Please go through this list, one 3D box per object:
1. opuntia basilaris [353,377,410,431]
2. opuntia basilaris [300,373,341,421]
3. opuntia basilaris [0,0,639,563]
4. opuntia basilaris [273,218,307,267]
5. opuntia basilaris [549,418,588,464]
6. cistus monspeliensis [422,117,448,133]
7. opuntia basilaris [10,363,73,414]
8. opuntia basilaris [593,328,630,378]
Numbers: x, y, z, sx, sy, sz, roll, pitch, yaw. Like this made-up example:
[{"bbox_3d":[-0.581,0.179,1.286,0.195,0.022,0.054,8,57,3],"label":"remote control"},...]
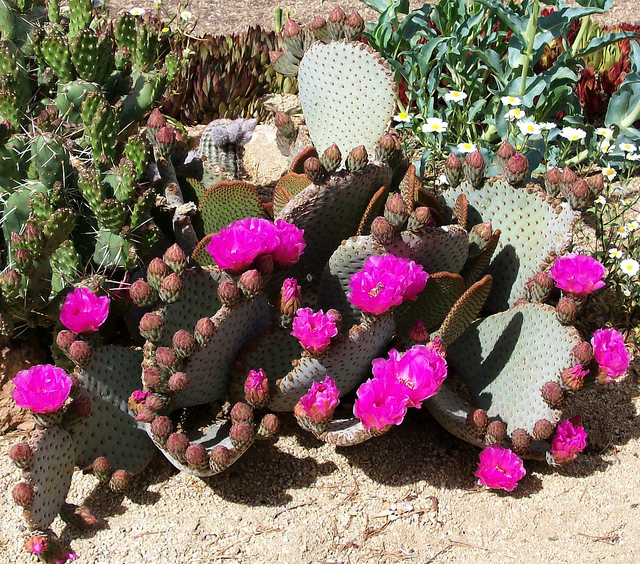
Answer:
[{"bbox_3d":[0.178,0.372,2.045,0.135,0.098,0.163,19,67,15],"label":"opuntia basilaris"},{"bbox_3d":[-0.002,0.364,2.110,0.108,0.133,0.082,-18,43,-25],"label":"opuntia basilaris"},{"bbox_3d":[-0.396,-0.350,2.410,1.857,0.592,2.220,-1,64,-4],"label":"opuntia basilaris"},{"bbox_3d":[-0.089,-0.112,2.239,0.116,0.128,0.152,4,77,3],"label":"opuntia basilaris"},{"bbox_3d":[0.822,0.545,2.304,0.097,0.142,0.088,23,42,22],"label":"opuntia basilaris"},{"bbox_3d":[0.541,-0.725,3.234,0.086,0.039,0.097,-4,32,-1],"label":"cistus monspeliensis"},{"bbox_3d":[-0.831,0.333,2.083,0.138,0.099,0.156,15,70,4],"label":"opuntia basilaris"},{"bbox_3d":[0.913,0.244,2.212,0.123,0.081,0.150,13,77,-3],"label":"opuntia basilaris"}]
